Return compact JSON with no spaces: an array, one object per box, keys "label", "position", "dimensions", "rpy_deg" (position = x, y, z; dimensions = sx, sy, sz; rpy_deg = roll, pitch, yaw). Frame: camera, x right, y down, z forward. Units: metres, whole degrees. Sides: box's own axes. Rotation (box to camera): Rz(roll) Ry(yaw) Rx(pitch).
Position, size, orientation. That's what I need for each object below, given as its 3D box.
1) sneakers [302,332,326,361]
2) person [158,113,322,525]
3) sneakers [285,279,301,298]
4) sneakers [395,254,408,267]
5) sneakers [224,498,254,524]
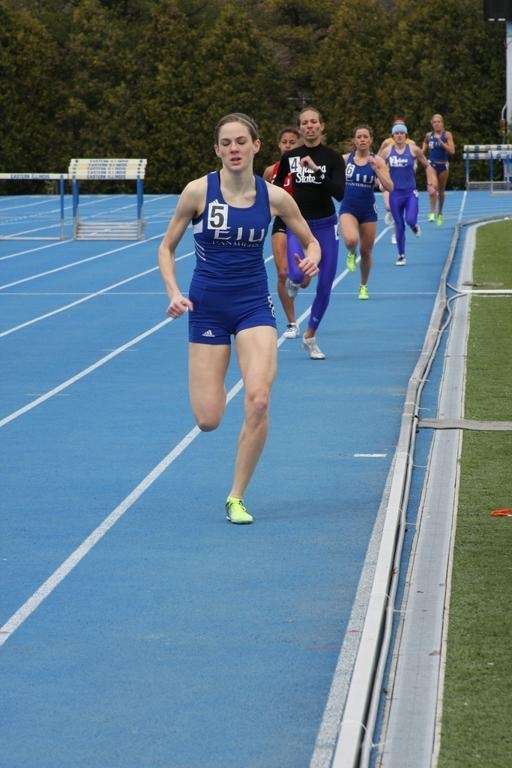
[{"label":"sneakers","position":[0.527,-0.349,8.210],"dimensions":[0.116,0.127,0.314],"rpy_deg":[-12,34,-23]},{"label":"person","position":[-0.147,-0.260,3.997],"dimensions":[0.632,1.830,0.824],"rpy_deg":[8,18,35]},{"label":"sneakers","position":[0.336,-0.952,8.569],"dimensions":[0.104,0.224,0.087],"rpy_deg":[-28,-38,23]},{"label":"sneakers","position":[2.412,-2.040,14.868],"dimensions":[0.132,0.136,0.375],"rpy_deg":[1,5,11]},{"label":"sneakers","position":[-0.072,0.575,4.008],"dimensions":[0.074,0.064,0.162],"rpy_deg":[-1,2,-18]}]
